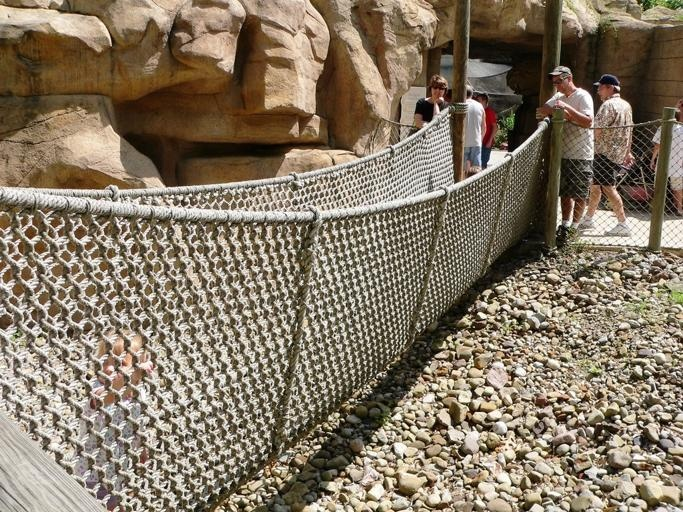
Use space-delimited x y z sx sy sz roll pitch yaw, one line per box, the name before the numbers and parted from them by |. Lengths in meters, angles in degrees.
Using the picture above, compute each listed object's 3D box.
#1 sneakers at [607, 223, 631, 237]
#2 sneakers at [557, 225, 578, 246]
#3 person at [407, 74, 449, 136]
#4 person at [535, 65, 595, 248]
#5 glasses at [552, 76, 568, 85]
sneakers | 2.857 -0.283 10.643 0.235 0.150 0.117 5 7 21
sneakers | 2.258 -0.214 10.441 0.174 0.220 0.095 -2 -16 22
person | 0.980 -1.558 11.131 0.352 0.747 0.487 8 16 -6
person | 2.280 -1.044 10.484 0.528 1.711 0.577 -14 23 -36
glasses | 2.173 -1.750 10.300 0.076 0.026 0.082 0 46 48
